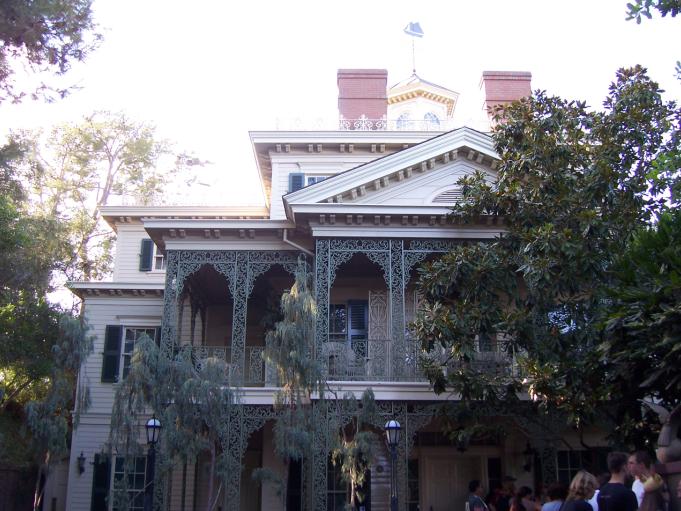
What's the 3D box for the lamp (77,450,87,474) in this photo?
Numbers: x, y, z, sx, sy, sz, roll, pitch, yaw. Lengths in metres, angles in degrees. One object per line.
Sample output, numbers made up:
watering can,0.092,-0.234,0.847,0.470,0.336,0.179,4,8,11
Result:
lamp,-7.881,6.298,22.994,0.238,0.638,0.258,-11,-23,30
